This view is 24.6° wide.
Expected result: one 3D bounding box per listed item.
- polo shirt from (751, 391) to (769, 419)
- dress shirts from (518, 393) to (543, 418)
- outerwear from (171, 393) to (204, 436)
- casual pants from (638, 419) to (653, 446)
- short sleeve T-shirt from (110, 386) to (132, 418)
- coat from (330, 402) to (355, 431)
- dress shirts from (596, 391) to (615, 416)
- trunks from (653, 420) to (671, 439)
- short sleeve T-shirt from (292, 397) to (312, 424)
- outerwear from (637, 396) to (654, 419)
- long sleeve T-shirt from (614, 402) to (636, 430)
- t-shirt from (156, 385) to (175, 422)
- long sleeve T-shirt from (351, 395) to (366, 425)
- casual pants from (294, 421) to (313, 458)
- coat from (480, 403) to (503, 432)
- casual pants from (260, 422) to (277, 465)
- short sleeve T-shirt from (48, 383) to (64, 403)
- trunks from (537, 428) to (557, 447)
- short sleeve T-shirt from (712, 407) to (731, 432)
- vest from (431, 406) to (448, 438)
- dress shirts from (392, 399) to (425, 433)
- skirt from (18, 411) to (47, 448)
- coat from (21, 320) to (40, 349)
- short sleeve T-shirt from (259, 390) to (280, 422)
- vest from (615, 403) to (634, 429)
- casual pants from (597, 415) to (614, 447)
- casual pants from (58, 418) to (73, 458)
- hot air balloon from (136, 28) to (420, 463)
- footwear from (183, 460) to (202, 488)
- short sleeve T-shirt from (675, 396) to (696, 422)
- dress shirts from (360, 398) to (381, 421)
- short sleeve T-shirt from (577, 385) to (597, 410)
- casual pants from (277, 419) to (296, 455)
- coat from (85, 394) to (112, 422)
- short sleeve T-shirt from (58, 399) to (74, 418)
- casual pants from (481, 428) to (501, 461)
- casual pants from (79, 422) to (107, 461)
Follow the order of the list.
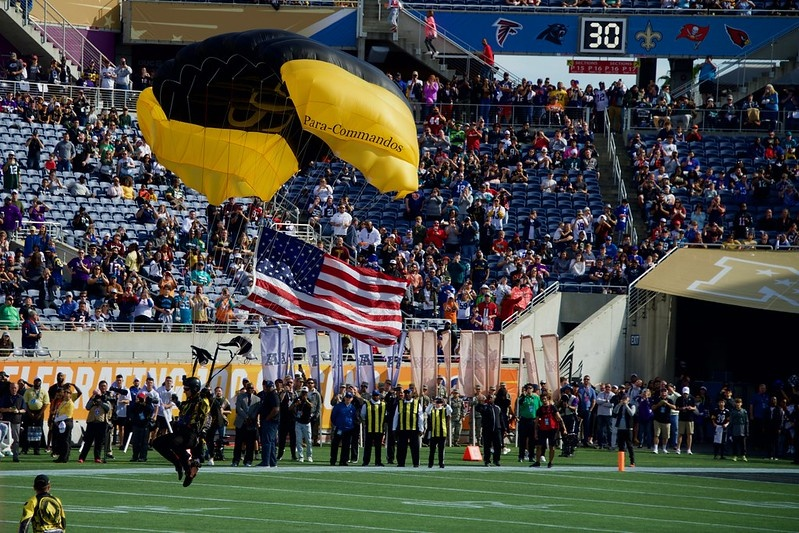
[{"bbox_3d":[10.978,4.185,55.519,0.442,0.755,1.184,3,-13,-10],"label":"polo shirt"},{"bbox_3d":[3.738,3.928,51.699,0.605,0.593,0.337,4,-31,1],"label":"dress shirts"},{"bbox_3d":[-5.018,3.557,44.016,1.011,1.017,0.752,0,-11,24],"label":"outerwear"},{"bbox_3d":[7.495,5.138,55.688,0.470,0.807,1.015,0,-13,7],"label":"casual pants"},{"bbox_3d":[-7.614,3.758,50.420,0.696,0.883,0.501,2,-15,-13],"label":"short sleeve T-shirt"},{"bbox_3d":[-1.472,4.073,49.848,0.743,0.754,0.422,3,-6,-28],"label":"coat"},{"bbox_3d":[6.160,4.067,54.354,0.600,0.776,0.444,2,-21,7],"label":"dress shirts"},{"bbox_3d":[7.847,4.856,54.544,0.713,0.682,0.423,1,-7,9],"label":"trunks"},{"bbox_3d":[-2.593,3.956,50.330,0.619,0.920,0.617,1,-13,-5],"label":"short sleeve T-shirt"},{"bbox_3d":[7.362,4.211,54.688,0.542,0.797,0.415,5,14,30],"label":"outerwear"},{"bbox_3d":[6.501,4.354,52.869,0.589,0.777,0.719,-2,-31,14],"label":"long sleeve T-shirt"},{"bbox_3d":[-6.385,3.786,50.432,0.720,0.991,0.522,9,-26,-28],"label":"t-shirt"},{"bbox_3d":[-1.056,3.906,50.165,0.229,0.674,0.492,7,-4,0],"label":"long sleeve T-shirt"},{"bbox_3d":[-2.590,4.784,50.506,0.470,1.075,0.345,5,5,12],"label":"casual pants"},{"bbox_3d":[2.572,4.179,50.681,0.705,0.684,0.368,9,-15,-33],"label":"coat"},{"bbox_3d":[-3.460,4.750,49.280,0.447,1.249,0.533,6,-3,11],"label":"casual pants"},{"bbox_3d":[-9.324,3.456,50.034,0.219,0.501,0.437,13,-17,-42],"label":"short sleeve T-shirt"},{"bbox_3d":[4.071,4.696,50.485,0.585,0.554,0.330,4,10,12],"label":"trunks"},{"bbox_3d":[9.464,4.483,53.765,0.453,0.772,0.840,-1,-13,12],"label":"short sleeve T-shirt"},{"bbox_3d":[1.118,4.251,50.019,0.463,0.861,0.355,3,-13,-9],"label":"vest"},{"bbox_3d":[0.237,4.073,50.051,0.940,0.975,0.530,2,-10,1],"label":"dress shirts"},{"bbox_3d":[-10.093,4.594,50.838,0.688,1.055,1.214,4,-13,-11],"label":"skirt"},{"bbox_3d":[-10.447,1.990,52.412,0.527,0.910,0.635,4,-13,-13],"label":"coat"},{"bbox_3d":[-3.430,3.749,49.070,0.856,0.813,0.489,2,1,36],"label":"short sleeve T-shirt"},{"bbox_3d":[6.540,4.381,52.955,0.564,0.764,0.704,-2,-34,14],"label":"vest"},{"bbox_3d":[6.198,4.985,54.881,0.428,0.936,1.054,0,-13,7],"label":"casual pants"},{"bbox_3d":[-8.910,4.639,49.438,0.297,1.116,0.340,13,-12,-32],"label":"casual pants"},{"bbox_3d":[-3.052,-2.069,49.733,7.141,7.648,6.792,-8,-15,43],"label":"hot air balloon"},{"bbox_3d":[-4.972,5.003,44.272,0.272,0.869,0.370,22,2,-8],"label":"footwear"},{"bbox_3d":[8.559,4.244,54.586,0.500,0.706,0.570,-2,-13,15],"label":"short sleeve T-shirt"},{"bbox_3d":[-0.745,3.905,50.053,0.560,0.572,0.312,4,0,-12],"label":"dress shirts"},{"bbox_3d":[5.611,3.903,54.710,0.685,0.763,0.248,7,-14,-23],"label":"short sleeve T-shirt"},{"bbox_3d":[-3.038,4.753,50.702,0.506,1.169,0.312,2,18,-6],"label":"casual pants"},{"bbox_3d":[-8.126,4.004,49.779,0.748,0.955,0.665,6,-38,-11],"label":"coat"},{"bbox_3d":[-8.973,3.858,49.684,0.439,0.511,0.344,7,-14,-24],"label":"short sleeve T-shirt"},{"bbox_3d":[2.604,4.987,50.710,0.496,1.071,0.344,7,-30,-9],"label":"casual pants"},{"bbox_3d":[-8.230,4.753,49.772,0.613,1.316,0.400,22,-23,-27],"label":"casual pants"}]
